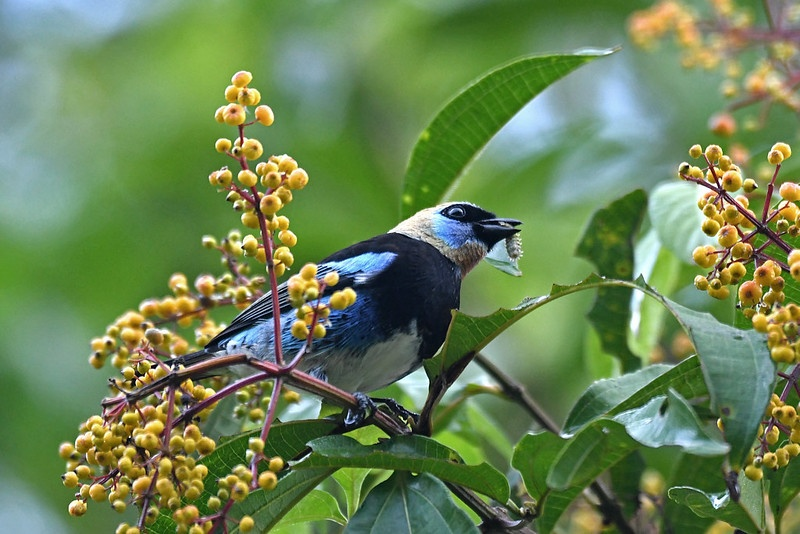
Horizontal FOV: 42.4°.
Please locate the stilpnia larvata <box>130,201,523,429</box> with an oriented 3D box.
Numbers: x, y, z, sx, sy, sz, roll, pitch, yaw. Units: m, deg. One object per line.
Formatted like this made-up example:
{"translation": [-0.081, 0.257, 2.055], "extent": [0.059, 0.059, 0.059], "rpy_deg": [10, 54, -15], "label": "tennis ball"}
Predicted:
{"translation": [-0.515, 0.222, 5.580], "extent": [2.345, 1.175, 0.787], "rpy_deg": [-2, -18, 2], "label": "stilpnia larvata"}
